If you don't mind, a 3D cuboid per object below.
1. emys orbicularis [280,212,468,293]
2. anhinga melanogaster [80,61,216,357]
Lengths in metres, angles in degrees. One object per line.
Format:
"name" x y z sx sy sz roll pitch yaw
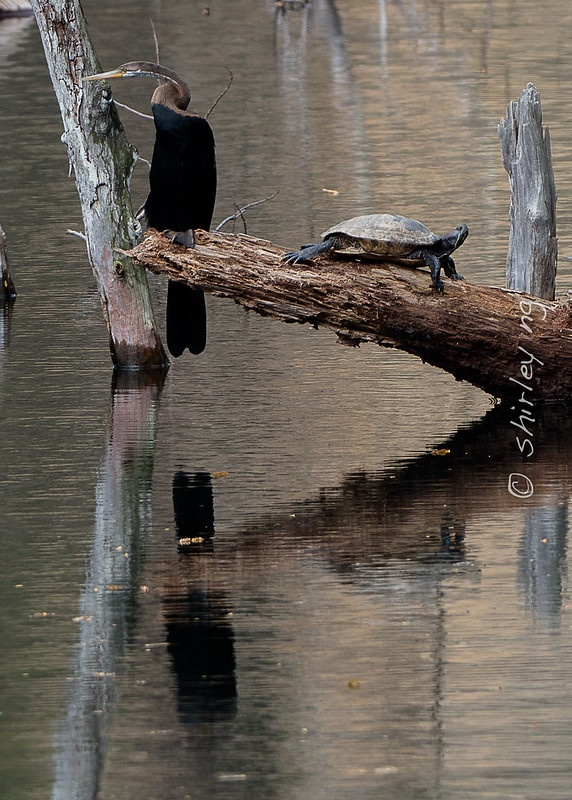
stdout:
"emys orbicularis" 0.532 -0.831 10.127 1.077 0.519 0.386 -4 34 -9
"anhinga melanogaster" -0.790 -1.141 10.612 0.701 1.887 0.692 -6 25 -13
